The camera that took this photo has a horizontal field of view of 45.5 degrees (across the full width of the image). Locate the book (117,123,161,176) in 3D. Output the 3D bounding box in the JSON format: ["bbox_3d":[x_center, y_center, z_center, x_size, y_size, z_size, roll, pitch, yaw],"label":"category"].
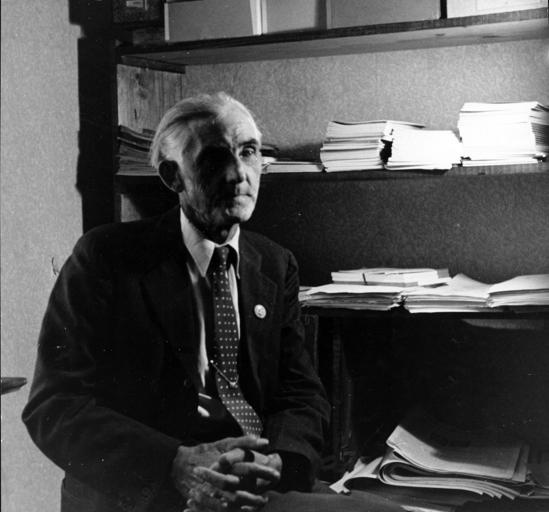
[{"bbox_3d":[-0.311,-0.233,1.551,0.095,0.111,0.035,1,-3,2],"label":"book"}]

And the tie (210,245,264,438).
[{"bbox_3d":[-0.105,0.192,1.523,0.116,0.587,0.029,-14,47,-17],"label":"tie"}]
